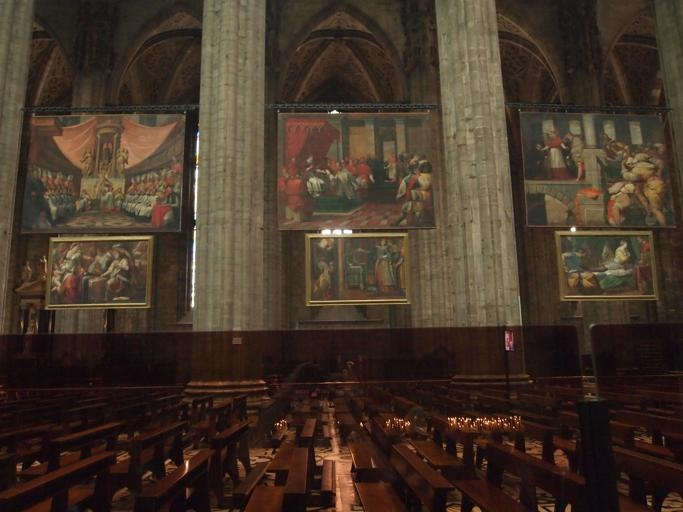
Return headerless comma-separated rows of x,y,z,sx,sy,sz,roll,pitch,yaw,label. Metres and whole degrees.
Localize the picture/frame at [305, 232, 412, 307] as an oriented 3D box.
0.430,0.332,15.649,1.953,1.350,0.073,0,-3,-3,picture/frame
